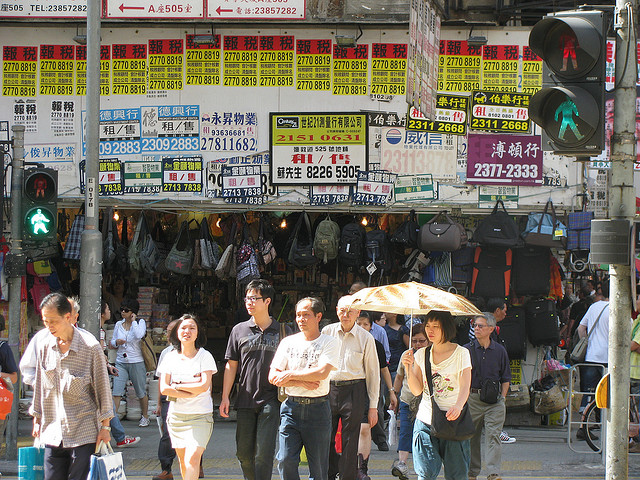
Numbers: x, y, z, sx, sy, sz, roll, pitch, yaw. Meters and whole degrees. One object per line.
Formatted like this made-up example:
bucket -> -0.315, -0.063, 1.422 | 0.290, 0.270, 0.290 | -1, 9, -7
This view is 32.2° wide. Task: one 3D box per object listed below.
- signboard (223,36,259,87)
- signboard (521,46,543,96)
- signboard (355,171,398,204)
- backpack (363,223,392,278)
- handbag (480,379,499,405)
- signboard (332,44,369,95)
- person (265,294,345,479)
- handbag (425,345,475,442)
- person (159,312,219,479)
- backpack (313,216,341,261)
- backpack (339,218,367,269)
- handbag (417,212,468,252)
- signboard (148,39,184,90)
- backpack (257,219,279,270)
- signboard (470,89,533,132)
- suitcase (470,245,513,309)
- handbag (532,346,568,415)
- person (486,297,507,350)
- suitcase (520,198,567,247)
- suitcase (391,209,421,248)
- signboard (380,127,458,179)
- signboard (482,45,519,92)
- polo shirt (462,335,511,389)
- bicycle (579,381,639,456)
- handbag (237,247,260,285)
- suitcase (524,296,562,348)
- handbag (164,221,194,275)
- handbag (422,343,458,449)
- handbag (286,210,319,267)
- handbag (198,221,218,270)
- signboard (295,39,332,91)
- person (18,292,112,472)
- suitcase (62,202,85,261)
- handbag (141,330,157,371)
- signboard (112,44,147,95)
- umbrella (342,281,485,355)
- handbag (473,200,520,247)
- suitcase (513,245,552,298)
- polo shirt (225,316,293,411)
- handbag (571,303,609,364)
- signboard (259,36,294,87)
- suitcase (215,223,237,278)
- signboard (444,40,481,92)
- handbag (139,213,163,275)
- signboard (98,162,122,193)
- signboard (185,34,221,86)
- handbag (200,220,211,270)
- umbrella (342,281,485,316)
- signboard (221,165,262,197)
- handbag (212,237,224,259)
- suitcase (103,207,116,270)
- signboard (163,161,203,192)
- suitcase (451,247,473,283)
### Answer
signboard -> -1.270, -2.929, 18.001 | 0.756, 1.100, 0.079 | 0, 4, 3
signboard -> 3.448, -2.737, 17.943 | 0.324, 0.847, 0.063 | 6, -16, 1
signboard -> 0.884, -0.858, 17.868 | 0.441, 0.385, 0.033 | 8, -2, -5
backpack -> 0.942, 0.217, 18.293 | 0.455, 0.762, 0.760 | 1, 1, 4
handbag -> 2.257, 2.033, 14.731 | 0.266, 0.341, 0.170 | 10, -12, -36
signboard -> 0.510, -2.753, 17.923 | 0.740, 1.076, 0.083 | 1, -5, 0
person -> -0.189, 1.787, 13.529 | 0.906, 2.135, 0.874 | -2, 0, 0
handbag -> 1.514, 1.717, 12.633 | 0.512, 1.291, 0.157 | -1, 24, 3
person -> -1.611, 1.920, 13.584 | 0.696, 2.016, 0.516 | -2, 0, 3
backpack -> 0.122, 0.009, 17.994 | 0.406, 0.639, 0.613 | 0, 6, 6
backpack -> 0.552, 0.071, 18.098 | 0.475, 0.757, 0.378 | -2, 0, -4
handbag -> 2.001, 0.039, 17.721 | 0.844, 0.801, 0.407 | 0, -17, 6
signboard -> -2.497, -2.850, 18.051 | 0.757, 1.089, 0.082 | 0, -6, 0
backpack -> -0.908, 0.001, 18.494 | 0.286, 0.917, 0.392 | -9, -6, 18
signboard -> 2.897, -2.044, 17.658 | 1.051, 0.792, 0.049 | 1, -1, 1
suitcase -> 2.800, 0.657, 18.009 | 0.664, 1.106, 0.606 | 1, -31, 13
handbag -> 3.713, 2.210, 17.890 | 0.488, 1.214, 0.583 | -3, 15, 41
person -> 2.773, 1.285, 17.143 | 0.290, 0.945, 0.371 | 1, 30, 13
suitcase -> 3.664, -0.284, 17.726 | 0.772, 0.847, 0.424 | 3, -8, 18
suitcase -> 1.498, -0.180, 18.211 | 0.375, 0.617, 0.614 | 7, -1, 38
signboard -> 1.628, -1.488, 17.920 | 1.459, 0.981, 0.054 | 7, 7, 37
signboard -> 2.952, -2.765, 17.991 | 0.614, 0.871, 0.079 | 3, -18, 4
polo shirt -> 2.291, 1.686, 15.131 | 0.657, 0.687, 0.360 | 0, -1, 20
bicycle -> 4.326, 2.634, 16.398 | 0.882, 0.979, 1.826 | -2, 0, 12
handbag -> -1.159, 0.406, 17.797 | 0.273, 0.519, 0.376 | 17, -29, -29
suitcase -> 3.702, 1.287, 18.189 | 0.491, 0.818, 0.470 | -11, 3, 13
handbag -> -2.343, 0.135, 18.321 | 0.440, 0.863, 0.233 | -2, 0, -15
handbag -> 1.385, 1.834, 12.929 | 0.276, 1.148, 0.479 | -2, 0, -33
handbag -> -0.264, 0.019, 18.327 | 0.567, 1.180, 0.334 | -2, -28, 4
handbag -> -1.872, 0.091, 18.358 | 0.305, 0.785, 0.294 | -2, 0, -17
signboard -> -0.080, -2.837, 17.943 | 0.754, 1.099, 0.050 | 0, -5, 1
person -> -2.888, 1.603, 12.531 | 0.979, 2.062, 0.513 | -2, 0, 26
suitcase -> -4.065, -0.135, 18.195 | 0.357, 0.975, 0.667 | -2, 0, -14
handbag -> -2.886, 1.873, 18.586 | 0.207, 0.665, 0.998 | -2, 0, -8
signboard -> -3.092, -2.787, 18.076 | 0.747, 1.103, 0.111 | 0, 3, 4
umbrella -> 1.097, 0.844, 13.453 | 1.055, 0.630, 1.054 | 6, -6, -25
handbag -> 2.894, -0.245, 17.772 | 0.822, 0.978, 0.382 | 5, -28, 12
suitcase -> 3.477, 0.265, 18.160 | 0.651, 0.967, 0.768 | -2, 34, 11
polo shirt -> -0.716, 1.542, 13.814 | 0.825, 1.214, 0.415 | 4, 14, 13
handbag -> 4.181, 1.524, 17.616 | 0.507, 0.859, 0.909 | -2, 0, -7
signboard -> -0.680, -2.919, 17.973 | 0.748, 1.071, 0.046 | 0, -3, -2
suitcase -> -1.575, 0.170, 18.202 | 0.375, 0.882, 0.299 | -2, 0, 31
signboard -> 2.347, -2.839, 17.947 | 0.756, 1.139, 0.080 | -1, 0, 2
handbag -> -2.828, 0.042, 18.389 | 0.254, 1.014, 0.429 | -2, 0, 34
signboard -> -3.421, -1.030, 18.073 | 0.474, 0.574, 0.015 | -5, 7, -35
signboard -> -1.885, -2.925, 18.011 | 0.751, 1.068, 0.051 | 0, -3, -1
handbag -> -1.906, 0.063, 18.288 | 0.139, 0.807, 0.185 | -2, 0, -25
umbrella -> 1.078, 0.733, 13.492 | 1.601, 0.395, 0.749 | -3, 0, 23
signboard -> -1.247, -0.946, 17.937 | 0.474, 0.382, 0.070 | -1, 3, 2
handbag -> -1.757, 0.138, 19.078 | 0.109, 0.094, 0.339 | 27, 8, -19
suitcase -> -3.514, -0.023, 18.367 | 0.208, 1.037, 0.212 | -2, 0, -12
signboard -> -2.256, -1.063, 18.027 | 0.745, 0.591, 0.076 | -2, 3, -36
suitcase -> 2.329, 0.355, 17.994 | 0.393, 0.635, 0.312 | 1, 3, -4
